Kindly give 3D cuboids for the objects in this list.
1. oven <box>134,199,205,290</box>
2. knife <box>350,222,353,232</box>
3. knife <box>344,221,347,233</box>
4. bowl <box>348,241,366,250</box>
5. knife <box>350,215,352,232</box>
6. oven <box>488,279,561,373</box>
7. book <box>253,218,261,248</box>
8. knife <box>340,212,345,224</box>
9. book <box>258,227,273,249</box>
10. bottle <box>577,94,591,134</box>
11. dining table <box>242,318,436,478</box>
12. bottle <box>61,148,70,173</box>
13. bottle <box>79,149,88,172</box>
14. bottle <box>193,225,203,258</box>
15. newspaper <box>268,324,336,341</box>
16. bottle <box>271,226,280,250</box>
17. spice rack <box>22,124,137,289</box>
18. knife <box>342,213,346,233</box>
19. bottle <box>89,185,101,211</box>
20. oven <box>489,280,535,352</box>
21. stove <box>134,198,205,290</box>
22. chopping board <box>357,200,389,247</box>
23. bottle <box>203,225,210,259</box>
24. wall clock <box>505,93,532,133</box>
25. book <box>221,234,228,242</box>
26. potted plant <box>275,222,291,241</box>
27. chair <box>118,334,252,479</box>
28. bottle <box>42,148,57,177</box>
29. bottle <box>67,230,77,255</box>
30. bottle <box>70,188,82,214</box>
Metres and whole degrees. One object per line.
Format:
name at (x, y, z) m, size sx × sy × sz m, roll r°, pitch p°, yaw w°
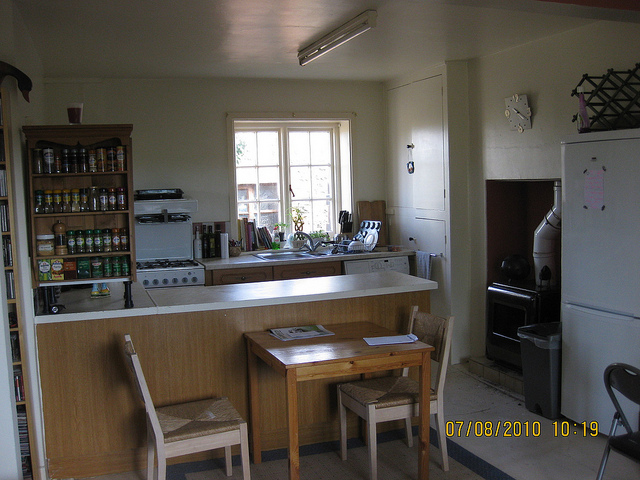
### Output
oven at (-1.677, 0.103, 5.419) m, size 0.721 × 1.078 × 0.561 m, roll -3°, pitch 7°, yaw -24°
knife at (0.385, -0.147, 6.331) m, size 0.013 × 0.112 × 0.046 m, roll 4°, pitch 9°, yaw 23°
knife at (0.315, -0.155, 6.306) m, size 0.036 × 0.139 × 0.026 m, roll -3°, pitch 9°, yaw -24°
bowl at (0.418, 0.073, 5.945) m, size 0.183 × 0.100 × 0.071 m, roll -2°, pitch 8°, yaw -12°
knife at (0.383, -0.200, 6.330) m, size 0.025 × 0.210 × 0.052 m, roll 1°, pitch 8°, yaw 5°
oven at (1.950, 0.877, 4.816) m, size 0.458 × 0.872 × 0.725 m, roll 3°, pitch 2°, yaw -24°
book at (-0.781, -0.063, 6.137) m, size 0.042 × 0.409 × 0.300 m, roll -10°, pitch 9°, yaw -7°
knife at (0.276, -0.265, 6.331) m, size 0.052 × 0.139 × 0.076 m, roll 0°, pitch 8°, yaw -4°
book at (-0.663, -0.021, 6.117) m, size 0.178 × 0.236 × 0.071 m, roll 3°, pitch 9°, yaw 22°
bottle at (2.024, -0.960, 3.859) m, size 0.099 × 0.293 × 0.259 m, roll 4°, pitch 9°, yaw 26°
dining table at (0.070, 0.842, 3.416) m, size 1.077 × 1.085 × 1.004 m, roll -4°, pitch 12°, yaw -19°
bottle at (-1.655, -0.516, 3.276) m, size 0.042 × 0.153 × 0.035 m, roll 7°, pitch 11°, yaw 40°
bottle at (-1.559, -0.519, 3.309) m, size 0.035 × 0.143 × 0.039 m, roll 3°, pitch 9°, yaw 20°
bottle at (-1.411, 0.024, 5.783) m, size 0.104 × 0.351 × 0.232 m, roll -2°, pitch 8°, yaw -14°
newspaper at (-0.140, 0.640, 3.465) m, size 0.399 × 0.020 × 0.296 m, roll -4°, pitch 9°, yaw -26°
bottle at (-0.553, -0.021, 6.184) m, size 0.099 × 0.255 × 0.257 m, roll -1°, pitch 8°, yaw -5°
spice rack at (-1.506, -0.165, 3.253) m, size 0.605 × 1.084 × 0.302 m, roll -3°, pitch -2°, yaw -14°
knife at (0.295, -0.211, 6.317) m, size 0.030 × 0.229 × 0.076 m, roll 3°, pitch 8°, yaw 17°
bottle at (-1.485, -0.263, 3.316) m, size 0.057 × 0.146 × 0.050 m, roll 5°, pitch 9°, yaw 31°
oven at (1.770, 0.699, 4.626) m, size 0.311 × 0.576 × 0.626 m, roll 0°, pitch 4°, yaw -8°
stove at (-1.682, 0.109, 5.410) m, size 0.731 × 1.057 × 0.570 m, roll -3°, pitch 6°, yaw -30°
chopping board at (0.637, -0.208, 6.339) m, size 0.502 × 0.940 × 0.087 m, roll -3°, pitch 6°, yaw -25°
bottle at (-1.302, 0.080, 5.745) m, size 0.069 × 0.252 × 0.059 m, roll -1°, pitch 8°, yaw -7°
wall clock at (1.850, -1.175, 4.711) m, size 0.055 × 0.346 × 0.278 m, roll -3°, pitch 9°, yaw -23°
book at (-1.082, -0.014, 5.767) m, size 0.064 × 0.112 × 0.069 m, roll 3°, pitch 7°, yaw 20°
potted plant at (-0.461, -0.100, 6.310) m, size 0.201 × 0.219 × 0.176 m, roll 0°, pitch 7°, yaw 0°
chair at (-0.808, 1.081, 3.191) m, size 0.732 × 1.058 × 0.611 m, roll -1°, pitch 8°, yaw -11°
bottle at (-1.753, -0.513, 3.257) m, size 0.061 × 0.152 × 0.041 m, roll -4°, pitch 9°, yaw -27°
bottle at (-1.628, 0.022, 3.300) m, size 0.063 × 0.142 × 0.044 m, roll 2°, pitch 8°, yaw 12°
bottle at (-1.598, -0.253, 3.294) m, size 0.068 × 0.138 × 0.036 m, roll -4°, pitch 9°, yaw -26°
